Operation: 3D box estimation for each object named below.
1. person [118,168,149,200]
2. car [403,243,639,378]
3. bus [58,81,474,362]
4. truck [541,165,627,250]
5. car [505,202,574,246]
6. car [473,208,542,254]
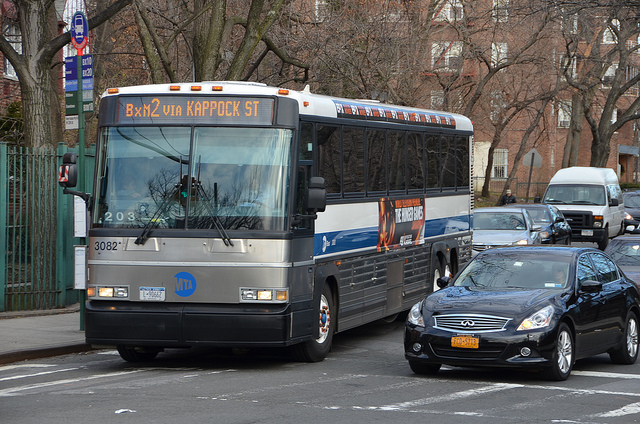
[{"bbox_3d":[-3.047,-0.437,12.671,0.279,0.285,0.718,-4,-13,21],"label":"person"},{"bbox_3d":[3.473,1.658,13.015,4.158,2.088,2.028,-1,2,-40],"label":"car"},{"bbox_3d":[0.032,0.049,18.286,4.117,4.322,13.034,1,2,24],"label":"bus"},{"bbox_3d":[12.021,-0.234,35.205,2.834,2.391,4.832,-2,-3,22],"label":"truck"},{"bbox_3d":[7.760,0.450,27.530,1.930,1.293,3.690,0,-2,18],"label":"car"},{"bbox_3d":[6.065,0.487,25.535,1.494,0.977,2.860,-2,-5,18],"label":"car"}]
